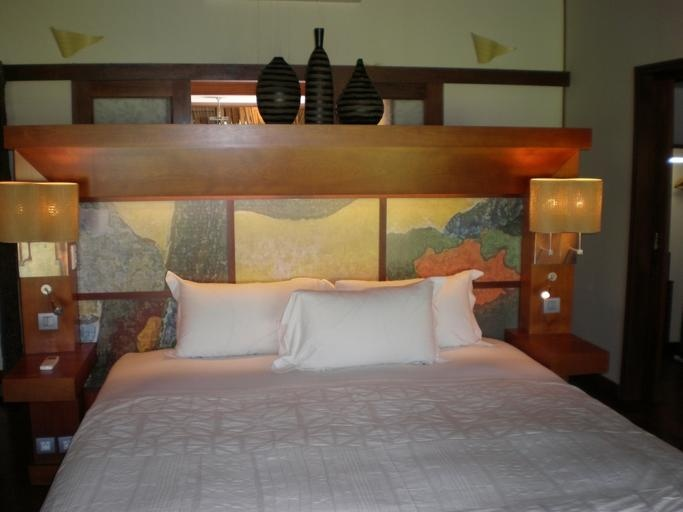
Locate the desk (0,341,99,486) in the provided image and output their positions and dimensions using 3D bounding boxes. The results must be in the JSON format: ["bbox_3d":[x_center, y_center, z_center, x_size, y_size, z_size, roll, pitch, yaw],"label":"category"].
[{"bbox_3d":[-1.436,0.790,2.735,0.365,0.577,0.667,1,5,0],"label":"desk"}]

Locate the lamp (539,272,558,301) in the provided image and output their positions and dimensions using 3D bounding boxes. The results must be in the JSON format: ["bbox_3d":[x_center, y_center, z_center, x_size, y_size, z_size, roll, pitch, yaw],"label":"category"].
[{"bbox_3d":[1.224,0.181,3.305,0.090,0.173,0.071,15,-8,-16],"label":"lamp"}]

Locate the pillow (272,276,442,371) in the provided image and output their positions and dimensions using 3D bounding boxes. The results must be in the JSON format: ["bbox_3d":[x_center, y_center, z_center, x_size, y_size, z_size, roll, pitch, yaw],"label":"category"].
[{"bbox_3d":[0.114,0.361,2.896,0.886,0.425,0.265,0,5,-13],"label":"pillow"}]

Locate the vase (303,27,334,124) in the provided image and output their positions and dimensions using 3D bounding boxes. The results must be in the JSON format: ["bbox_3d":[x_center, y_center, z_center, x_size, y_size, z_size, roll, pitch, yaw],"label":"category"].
[{"bbox_3d":[-0.118,-0.948,2.972,0.205,0.522,0.202,0,17,1],"label":"vase"}]

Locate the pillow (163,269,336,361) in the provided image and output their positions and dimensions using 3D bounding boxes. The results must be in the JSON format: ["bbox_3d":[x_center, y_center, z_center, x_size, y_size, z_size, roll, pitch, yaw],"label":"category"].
[{"bbox_3d":[-0.615,0.362,3.066,0.212,0.393,0.842,-13,-20,36],"label":"pillow"}]

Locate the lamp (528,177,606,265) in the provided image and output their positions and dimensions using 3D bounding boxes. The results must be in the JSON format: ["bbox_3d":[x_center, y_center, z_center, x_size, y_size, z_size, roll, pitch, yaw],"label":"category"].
[{"bbox_3d":[1.245,-0.190,3.102,0.363,0.500,0.270,0,9,13],"label":"lamp"}]

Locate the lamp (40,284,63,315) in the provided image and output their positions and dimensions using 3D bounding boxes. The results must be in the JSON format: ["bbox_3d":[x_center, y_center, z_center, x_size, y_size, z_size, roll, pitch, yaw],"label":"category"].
[{"bbox_3d":[-1.560,0.234,2.975,0.113,0.163,0.052,2,10,23],"label":"lamp"}]

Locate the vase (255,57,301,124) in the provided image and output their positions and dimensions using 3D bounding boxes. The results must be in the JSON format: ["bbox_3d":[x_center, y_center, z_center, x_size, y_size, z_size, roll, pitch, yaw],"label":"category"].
[{"bbox_3d":[-0.335,-0.871,2.885,0.203,0.354,0.115,-6,10,-27],"label":"vase"}]
